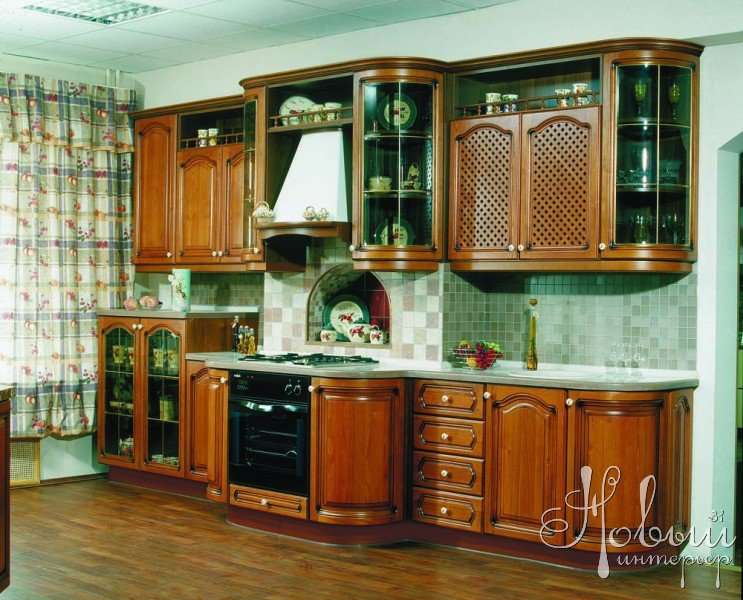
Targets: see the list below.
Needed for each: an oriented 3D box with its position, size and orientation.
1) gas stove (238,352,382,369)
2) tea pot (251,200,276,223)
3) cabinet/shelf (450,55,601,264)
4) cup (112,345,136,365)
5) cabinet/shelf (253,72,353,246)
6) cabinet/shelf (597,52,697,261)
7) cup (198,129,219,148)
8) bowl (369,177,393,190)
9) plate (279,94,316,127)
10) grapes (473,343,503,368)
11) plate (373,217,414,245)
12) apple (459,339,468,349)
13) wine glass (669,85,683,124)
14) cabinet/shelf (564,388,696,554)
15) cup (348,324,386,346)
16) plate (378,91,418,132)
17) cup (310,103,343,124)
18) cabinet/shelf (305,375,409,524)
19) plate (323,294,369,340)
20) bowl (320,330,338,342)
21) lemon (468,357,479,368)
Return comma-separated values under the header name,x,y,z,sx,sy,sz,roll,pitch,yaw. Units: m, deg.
name,x,y,z,sx,sy,sz,roll,pitch,yaw
gas stove,-0.439,0.408,5.049,0.976,0.045,0.617,1,3,29
tea pot,-0.769,-0.627,5.183,0.176,0.170,0.182,-4,2,0
cabinet/shelf,1.008,-0.847,4.616,1.010,1.297,0.374,1,4,33
cup,-2.060,0.457,6.034,0.192,0.125,0.166,-1,-2,16
cabinet/shelf,-0.355,-1.144,5.581,0.454,1.287,1.039,0,19,-2
cabinet/shelf,1.645,-0.859,4.333,0.620,1.205,0.429,-2,10,2
cup,-1.341,-1.342,5.982,0.209,0.166,0.117,5,9,28
bowl,0.061,-0.763,4.725,0.117,0.070,0.094,1,-2,-28
plate,-0.554,-1.406,5.288,0.265,0.263,0.220,17,10,-2
grapes,0.753,0.351,4.658,0.188,0.159,0.176,-2,-3,13
plate,0.151,-0.449,4.706,0.251,0.192,0.067,0,3,2
apple,0.618,0.292,4.773,0.059,0.071,0.063,2,-2,-26
wine glass,1.761,-1.141,4.181,0.086,0.223,0.028,-2,3,-26
cabinet/shelf,1.509,0.977,4.140,0.789,0.956,0.249,-2,3,-22
cup,-0.024,0.248,5.293,0.142,0.095,0.228,3,-1,-41
plate,0.183,-1.231,4.699,0.297,0.259,0.065,4,4,7
cup,-0.326,-1.339,5.142,0.186,0.090,0.228,1,6,12
cabinet/shelf,-0.079,0.943,4.587,0.621,0.907,0.228,0,3,2
plate,-0.213,0.124,5.555,0.382,0.340,0.060,-8,-12,27
bowl,-0.317,0.268,5.441,0.098,0.063,0.093,0,1,0
lemon,0.640,0.392,4.564,0.065,0.059,0.073,-13,-27,37
